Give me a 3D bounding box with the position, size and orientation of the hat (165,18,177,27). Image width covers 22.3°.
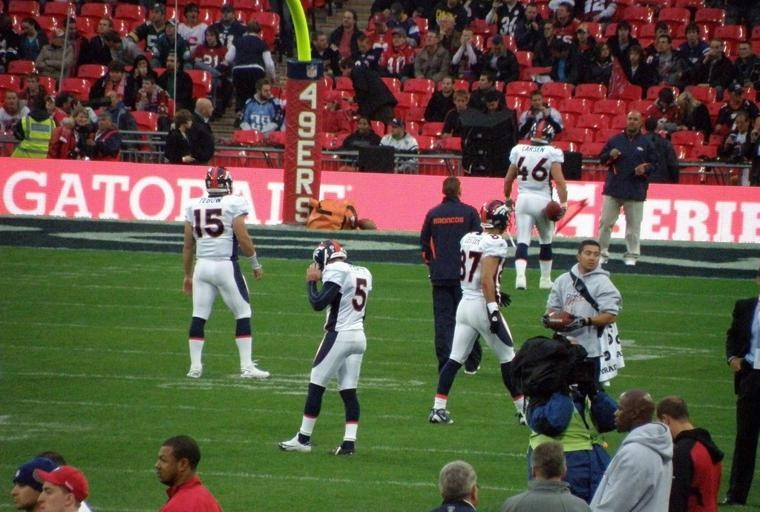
[{"bbox_3d":[-5.012,-5.552,46.104,0.314,0.180,0.504,3,2,2],"label":"hat"}]

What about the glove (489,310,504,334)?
[{"bbox_3d":[1.861,1.048,31.485,0.246,0.328,0.291,-5,-12,1],"label":"glove"}]

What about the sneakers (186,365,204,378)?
[{"bbox_3d":[-3.157,1.929,32.913,0.286,0.218,0.278,1,2,-13],"label":"sneakers"}]

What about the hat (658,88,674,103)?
[{"bbox_3d":[6.281,-3.515,42.359,0.274,0.347,0.359,-1,-5,2],"label":"hat"}]

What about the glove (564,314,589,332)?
[{"bbox_3d":[3.129,1.031,30.560,0.241,0.126,0.317,-9,5,-27],"label":"glove"}]

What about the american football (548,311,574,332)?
[{"bbox_3d":[2.838,0.998,30.402,0.262,0.253,0.323,4,6,32],"label":"american football"}]

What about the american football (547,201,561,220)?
[{"bbox_3d":[3.302,-0.863,36.289,0.322,0.235,0.286,-13,13,-40],"label":"american football"}]

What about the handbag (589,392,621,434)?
[{"bbox_3d":[3.363,2.286,28.908,0.385,0.634,0.282,2,2,16],"label":"handbag"}]

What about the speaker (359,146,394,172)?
[{"bbox_3d":[-0.097,-2.109,41.886,0.780,0.570,0.540,2,8,3],"label":"speaker"}]

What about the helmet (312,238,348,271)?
[{"bbox_3d":[-0.831,-0.034,31.227,0.535,0.484,0.432,11,5,25],"label":"helmet"}]

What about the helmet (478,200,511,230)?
[{"bbox_3d":[1.913,-0.736,32.089,0.380,0.480,0.508,15,29,42],"label":"helmet"}]

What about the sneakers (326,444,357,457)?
[{"bbox_3d":[-0.638,3.034,30.659,0.401,0.180,0.155,3,-4,8],"label":"sneakers"}]

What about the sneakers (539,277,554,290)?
[{"bbox_3d":[3.198,0.469,37.009,0.365,0.289,0.130,-9,16,-33],"label":"sneakers"}]

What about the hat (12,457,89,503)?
[{"bbox_3d":[-4.685,3.195,27.484,0.903,0.497,0.577,17,3,-1],"label":"hat"}]

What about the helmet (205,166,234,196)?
[{"bbox_3d":[-2.733,-1.329,32.948,0.384,0.418,0.510,4,26,7],"label":"helmet"}]

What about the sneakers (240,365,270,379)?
[{"bbox_3d":[-2.154,1.939,33.069,0.538,0.244,0.199,-1,3,-2],"label":"sneakers"}]

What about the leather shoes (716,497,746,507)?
[{"bbox_3d":[5.440,3.744,29.896,0.428,0.171,0.156,5,-6,6],"label":"leather shoes"}]

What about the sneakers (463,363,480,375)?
[{"bbox_3d":[1.586,1.956,33.594,0.181,0.214,0.196,-4,17,-15],"label":"sneakers"}]

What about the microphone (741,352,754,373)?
[{"bbox_3d":[5.733,1.632,30.108,0.204,0.265,0.231,-4,-23,12],"label":"microphone"}]

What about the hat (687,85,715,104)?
[{"bbox_3d":[7.379,-3.693,44.156,0.420,0.501,0.504,-1,2,15],"label":"hat"}]

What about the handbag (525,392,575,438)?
[{"bbox_3d":[2.574,2.327,28.740,0.671,0.712,0.537,-18,17,-17],"label":"handbag"}]

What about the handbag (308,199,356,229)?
[{"bbox_3d":[-1.054,-0.887,41.641,0.835,0.434,0.649,0,8,-32],"label":"handbag"}]

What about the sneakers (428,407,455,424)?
[{"bbox_3d":[0.997,2.559,31.621,0.411,0.253,0.250,1,2,-6],"label":"sneakers"}]

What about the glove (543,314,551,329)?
[{"bbox_3d":[2.662,1.006,30.565,0.161,0.164,0.125,16,-16,-31],"label":"glove"}]
